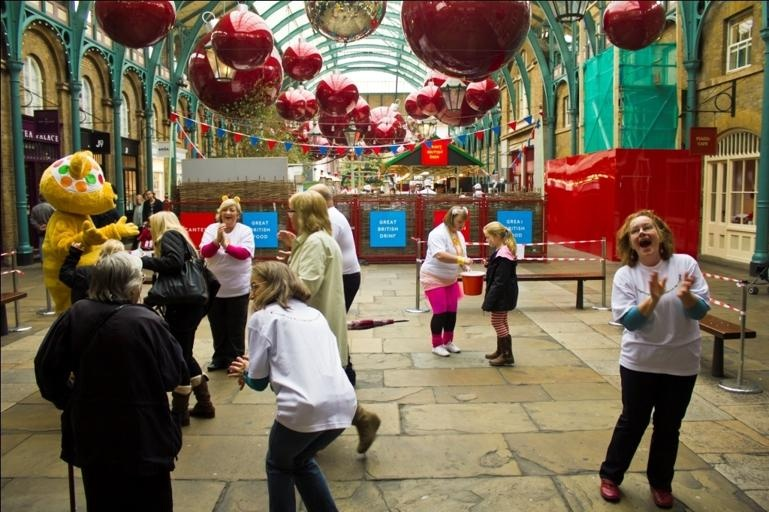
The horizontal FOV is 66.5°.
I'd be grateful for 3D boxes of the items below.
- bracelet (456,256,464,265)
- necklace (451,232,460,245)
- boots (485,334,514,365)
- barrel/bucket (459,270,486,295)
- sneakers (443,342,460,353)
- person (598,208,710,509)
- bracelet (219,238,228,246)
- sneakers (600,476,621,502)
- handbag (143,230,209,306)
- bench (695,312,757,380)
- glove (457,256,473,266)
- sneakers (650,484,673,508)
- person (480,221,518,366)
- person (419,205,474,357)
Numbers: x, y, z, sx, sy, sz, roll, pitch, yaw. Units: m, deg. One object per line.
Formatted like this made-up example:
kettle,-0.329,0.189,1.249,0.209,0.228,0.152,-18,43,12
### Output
bracelet,1.060,0.053,8.283,0.100,0.076,0.103,7,9,42
necklace,1.053,-0.264,8.664,0.120,0.156,0.058,-4,-31,-4
boots,1.597,1.312,8.411,0.403,0.418,0.442,2,1,-3
barrel/bucket,1.361,0.409,8.992,0.376,0.285,0.378,1,-2,0
sneakers,1.008,1.376,8.855,0.102,0.116,0.296,-2,0,-44
person,2.368,0.911,5.208,0.855,2.583,0.542,1,8,20
bracelet,-2.051,-0.173,7.561,0.080,0.058,0.082,-1,-4,44
sneakers,2.027,2.116,5.290,0.113,0.095,0.242,0,-2,4
handbag,-2.155,0.223,6.694,0.821,0.883,0.744,4,-17,-9
bench,4.547,1.246,7.865,0.282,0.383,1.182,-2,4,0
glove,1.137,0.098,8.381,0.286,0.146,0.161,0,11,10
sneakers,2.466,2.150,5.237,0.100,0.090,0.217,-4,-1,4
person,1.622,0.539,8.332,0.473,1.978,0.680,-1,8,9
person,0.915,0.380,8.604,0.701,2.185,0.745,-1,8,8
